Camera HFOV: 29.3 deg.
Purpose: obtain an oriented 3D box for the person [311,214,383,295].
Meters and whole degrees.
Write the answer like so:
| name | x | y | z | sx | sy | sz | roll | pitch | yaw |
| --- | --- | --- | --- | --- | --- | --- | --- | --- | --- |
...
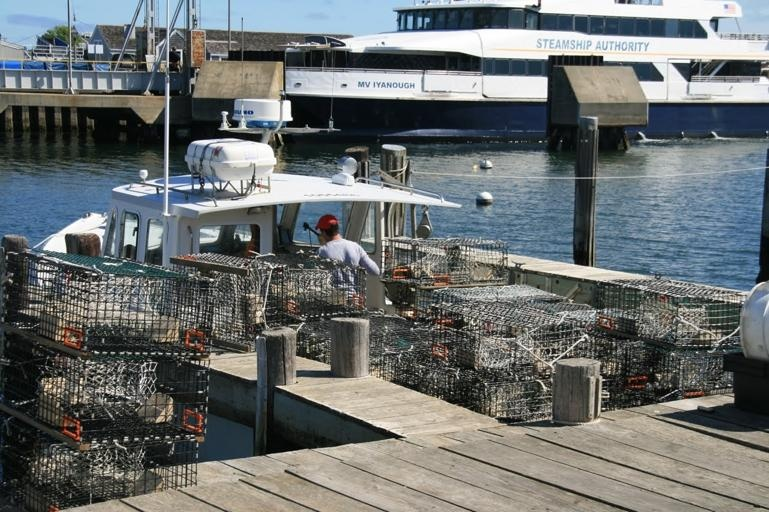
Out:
| name | x | y | z | sx | sy | sz | roll | pitch | yaw |
| --- | --- | --- | --- | --- | --- | --- | --- | --- | --- |
| person | -0.754 | -0.067 | 28.961 | 1.168 | 1.376 | 1.326 | 0 | 7 | -3 |
